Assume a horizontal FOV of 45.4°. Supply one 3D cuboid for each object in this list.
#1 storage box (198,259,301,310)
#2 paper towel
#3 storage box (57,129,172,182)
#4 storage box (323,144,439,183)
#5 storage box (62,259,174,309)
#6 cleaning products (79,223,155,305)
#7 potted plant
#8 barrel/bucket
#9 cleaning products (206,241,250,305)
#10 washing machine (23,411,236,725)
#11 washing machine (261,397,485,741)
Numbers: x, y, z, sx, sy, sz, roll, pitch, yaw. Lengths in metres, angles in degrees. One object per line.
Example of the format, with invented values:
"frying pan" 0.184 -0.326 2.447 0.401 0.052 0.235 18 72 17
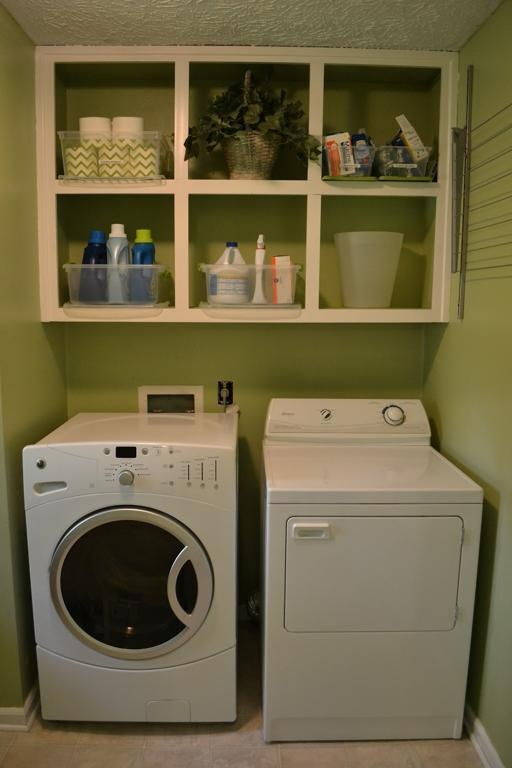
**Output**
"storage box" -0.014 -0.271 1.800 0.205 0.102 0.154 0 0 -7
"paper towel" -0.417 -0.660 1.744 0.189 0.118 0.208 -1 11 -5
"storage box" -0.411 -0.623 1.780 0.241 0.109 0.183 -2 9 -8
"storage box" 0.384 -0.631 1.785 0.205 0.080 0.176 -1 19 -2
"storage box" -0.424 -0.281 1.822 0.236 0.108 0.173 -1 4 -3
"cleaning products" -0.414 -0.348 1.813 0.254 0.289 0.098 -1 1 -11
"potted plant" -0.010 -0.748 1.788 0.370 0.297 0.362 15 23 41
"barrel/bucket" 0.328 -0.333 1.885 0.192 0.254 0.226 0 2 1
"cleaning products" -0.079 -0.321 1.816 0.127 0.215 0.108 0 -7 11
"washing machine" -0.317 0.497 1.937 0.637 1.056 0.695 0 3 -1
"washing machine" 0.287 0.475 1.900 0.669 1.184 0.746 0 5 1
